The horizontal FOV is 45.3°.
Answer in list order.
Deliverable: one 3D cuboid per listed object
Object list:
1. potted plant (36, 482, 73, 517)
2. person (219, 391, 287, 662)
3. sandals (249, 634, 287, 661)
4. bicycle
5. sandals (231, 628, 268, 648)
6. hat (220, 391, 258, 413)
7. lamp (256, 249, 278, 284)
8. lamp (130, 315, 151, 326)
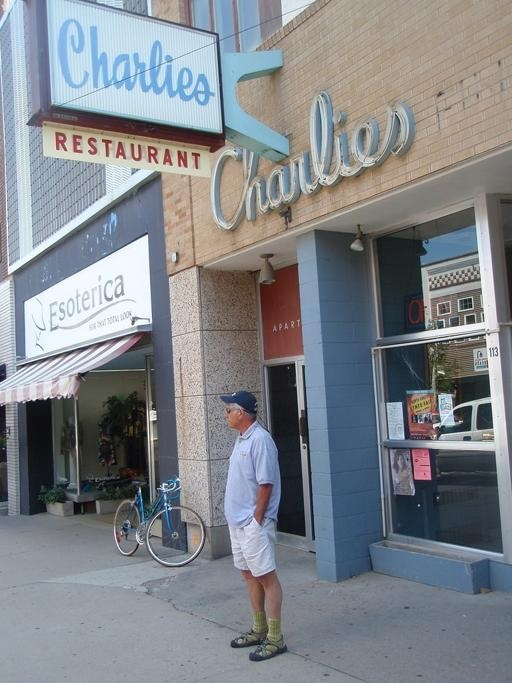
[{"bbox_3d":[-4.087,3.343,12.517,0.563,0.598,0.828,-4,4,-43],"label":"potted plant"},{"bbox_3d":[-0.012,1.162,3.996,0.339,1.688,0.482,-1,-9,-35],"label":"person"},{"bbox_3d":[0.075,1.923,3.885,0.276,0.125,0.094,-4,-6,-28],"label":"sandals"},{"bbox_3d":[-1.344,2.200,7.680,1.666,1.066,0.383,-9,-18,41],"label":"bicycle"},{"bbox_3d":[-0.049,1.963,4.091,0.293,0.117,0.108,-3,-7,5],"label":"sandals"},{"bbox_3d":[-0.118,0.417,4.198,0.219,0.119,0.140,16,5,11],"label":"hat"},{"bbox_3d":[0.137,-0.872,7.029,0.260,0.494,0.262,0,-17,0],"label":"lamp"},{"bbox_3d":[-1.661,-0.279,8.767,0.228,0.076,0.221,6,-4,-27],"label":"lamp"}]
